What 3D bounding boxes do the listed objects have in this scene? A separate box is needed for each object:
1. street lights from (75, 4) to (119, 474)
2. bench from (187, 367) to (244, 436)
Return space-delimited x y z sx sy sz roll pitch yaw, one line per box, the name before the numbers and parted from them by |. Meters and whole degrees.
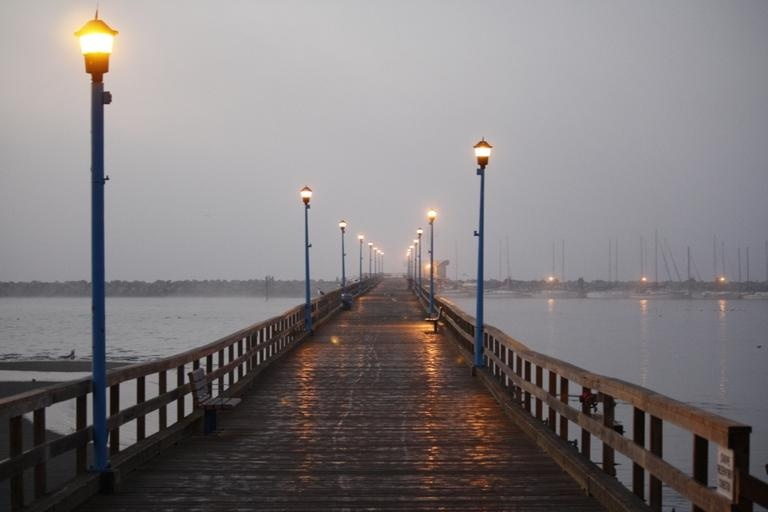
street lights | -4.173 -0.164 12.947 0.487 6.605 0.444 -3 -3 31
bench | -2.867 2.464 15.245 0.750 1.072 1.085 -2 -3 -3
